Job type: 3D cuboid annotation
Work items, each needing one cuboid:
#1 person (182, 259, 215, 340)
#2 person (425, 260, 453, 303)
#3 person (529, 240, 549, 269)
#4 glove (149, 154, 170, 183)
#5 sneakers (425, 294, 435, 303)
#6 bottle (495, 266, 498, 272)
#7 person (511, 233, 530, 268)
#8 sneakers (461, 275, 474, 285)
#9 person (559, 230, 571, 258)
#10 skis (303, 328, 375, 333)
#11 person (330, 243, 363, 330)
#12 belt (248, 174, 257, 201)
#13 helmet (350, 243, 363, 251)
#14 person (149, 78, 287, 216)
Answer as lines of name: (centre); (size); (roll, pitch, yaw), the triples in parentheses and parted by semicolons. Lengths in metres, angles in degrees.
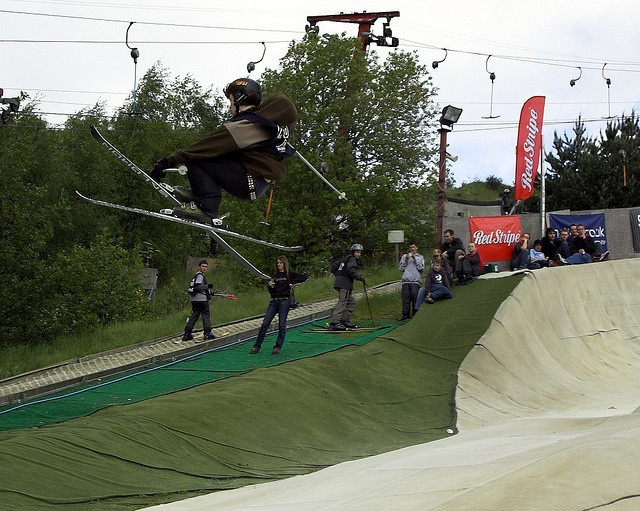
person: (-3.622, 1.339, 20.940); (1.424, 2.271, 0.997); (-5, 36, -12)
person: (2.854, 0.621, 16.614); (0.633, 0.992, 0.566); (5, 8, 7)
person: (5.778, -0.027, 18.390); (0.519, 0.667, 0.961); (6, 8, 16)
glove: (-2.248, -1.195, 9.914); (0.234, 0.341, 0.984); (2, 7, -13)
sneakers: (2.623, 1.025, 16.519); (0.111, 0.208, 0.299); (1, 8, -22)
bottle: (4.679, 0.366, 18.531); (0.168, 0.177, 0.020); (10, -27, -32)
person: (5.356, -0.068, 18.610); (0.406, 0.947, 0.809); (5, 8, 3)
sneakers: (3.522, 0.600, 16.744); (0.341, 0.196, 0.199); (10, 9, 42)
person: (6.477, -0.277, 18.482); (0.319, 0.680, 0.855); (7, 8, 18)
skis: (0.558, 1.884, 17.628); (1.261, 0.088, 0.113); (-2, 42, 6)
person: (0.751, 0.933, 19.483); (1.456, 2.646, 0.968); (-4, 50, -5)
belt: (-0.938, -0.933, 9.754); (0.083, 0.279, 0.299); (-12, 29, -1)
helmet: (0.892, -0.196, 16.893); (0.253, 0.186, 0.205); (-6, -4, 38)
person: (-1.243, -1.327, 9.739); (1.731, 1.823, 0.550); (4, 8, -3)
